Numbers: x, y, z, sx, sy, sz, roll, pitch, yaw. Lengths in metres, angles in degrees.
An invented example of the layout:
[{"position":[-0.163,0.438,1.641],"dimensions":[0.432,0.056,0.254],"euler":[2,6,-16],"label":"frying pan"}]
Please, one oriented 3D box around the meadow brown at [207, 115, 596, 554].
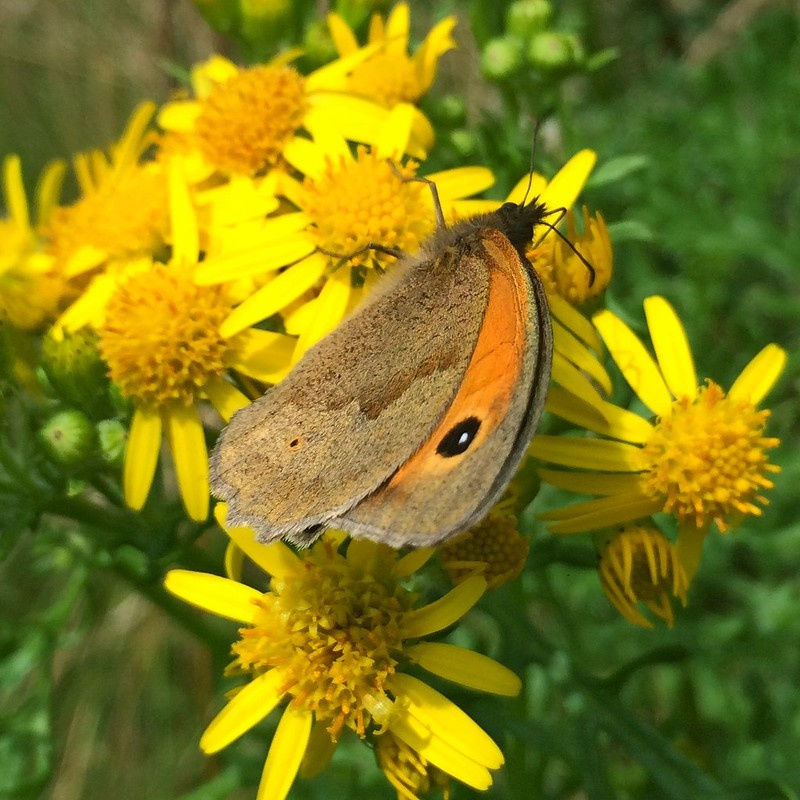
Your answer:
[{"position":[0.004,-0.026,1.569],"dimensions":[0.449,0.241,0.627],"euler":[23,83,2],"label":"meadow brown"}]
